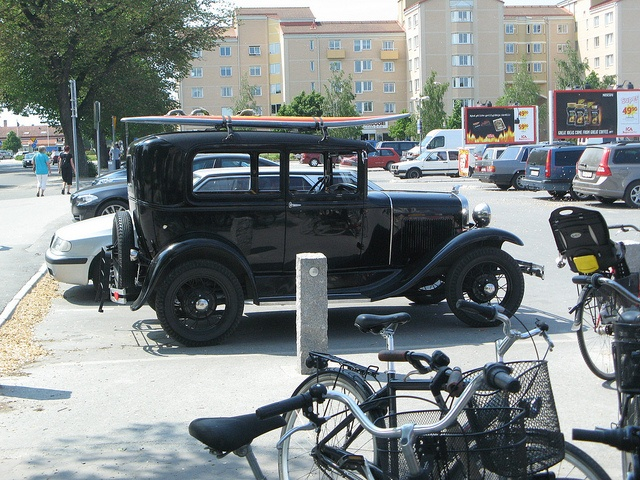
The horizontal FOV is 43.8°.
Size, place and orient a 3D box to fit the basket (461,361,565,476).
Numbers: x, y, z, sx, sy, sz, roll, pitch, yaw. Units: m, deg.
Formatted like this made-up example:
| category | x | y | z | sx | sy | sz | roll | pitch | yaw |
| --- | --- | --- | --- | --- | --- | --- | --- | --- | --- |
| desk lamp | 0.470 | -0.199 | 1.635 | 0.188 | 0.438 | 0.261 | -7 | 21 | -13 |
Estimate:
| category | x | y | z | sx | sy | sz | roll | pitch | yaw |
| --- | --- | --- | --- | --- | --- | --- | --- | --- | --- |
| basket | 1.139 | 1.116 | 4.987 | 0.680 | 0.611 | 0.559 | -17 | -7 | -20 |

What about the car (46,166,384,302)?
| category | x | y | z | sx | sy | sz | roll | pitch | yaw |
| --- | --- | --- | --- | --- | --- | --- | --- | --- | --- |
| car | -1.649 | -0.196 | 11.224 | 4.467 | 1.437 | 1.932 | 0 | 3 | -10 |

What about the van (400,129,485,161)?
| category | x | y | z | sx | sy | sz | roll | pitch | yaw |
| --- | --- | --- | --- | --- | --- | --- | --- | --- | --- |
| van | 7.786 | -5.904 | 49.537 | 5.512 | 2.835 | 2.457 | -4 | 9 | -15 |

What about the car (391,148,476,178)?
| category | x | y | z | sx | sy | sz | roll | pitch | yaw |
| --- | --- | --- | --- | --- | --- | --- | --- | --- | --- |
| car | 5.823 | -4.054 | 42.874 | 3.788 | 1.280 | 1.769 | 0 | 3 | -21 |

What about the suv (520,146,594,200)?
| category | x | y | z | sx | sy | sz | roll | pitch | yaw |
| --- | --- | --- | --- | --- | --- | --- | --- | --- | --- |
| suv | 7.667 | -2.226 | 26.624 | 1.403 | 1.199 | 2.734 | 7 | 7 | 40 |

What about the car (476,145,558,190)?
| category | x | y | z | sx | sy | sz | roll | pitch | yaw |
| --- | --- | --- | --- | --- | --- | --- | --- | --- | --- |
| car | 7.363 | -2.868 | 30.371 | 2.138 | 0.857 | 1.165 | -5 | 10 | -7 |
